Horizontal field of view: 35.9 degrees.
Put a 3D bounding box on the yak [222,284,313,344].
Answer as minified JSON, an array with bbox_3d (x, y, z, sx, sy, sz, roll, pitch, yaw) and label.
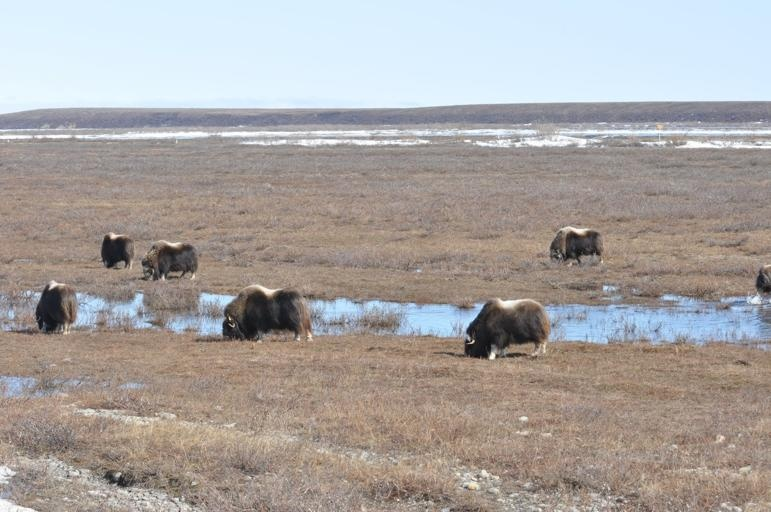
[{"bbox_3d":[-4.306,2.180,45.881,3.864,2.130,1.621,0,-3,19],"label":"yak"}]

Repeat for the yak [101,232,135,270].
[{"bbox_3d":[-12.521,-0.339,56.146,2.348,1.556,1.056,7,5,37],"label":"yak"}]

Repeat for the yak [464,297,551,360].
[{"bbox_3d":[4.494,2.675,43.492,3.182,2.055,1.419,-4,-6,18],"label":"yak"}]

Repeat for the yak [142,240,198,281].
[{"bbox_3d":[-9.735,0.169,53.913,1.013,1.712,3.015,3,7,42],"label":"yak"}]

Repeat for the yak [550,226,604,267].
[{"bbox_3d":[8.691,-0.555,56.602,3.390,1.942,1.146,1,-3,10],"label":"yak"}]
